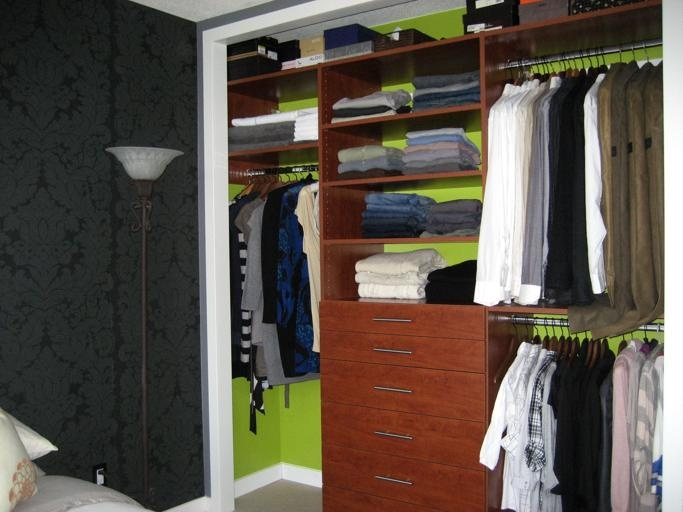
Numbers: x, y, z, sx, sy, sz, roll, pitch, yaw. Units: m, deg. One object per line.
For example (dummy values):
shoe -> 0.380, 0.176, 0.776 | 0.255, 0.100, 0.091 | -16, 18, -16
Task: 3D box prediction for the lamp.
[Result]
lamp -> -1.101, 0.368, 3.319 | 0.392, 1.987, 0.447 | 0, -3, -18
